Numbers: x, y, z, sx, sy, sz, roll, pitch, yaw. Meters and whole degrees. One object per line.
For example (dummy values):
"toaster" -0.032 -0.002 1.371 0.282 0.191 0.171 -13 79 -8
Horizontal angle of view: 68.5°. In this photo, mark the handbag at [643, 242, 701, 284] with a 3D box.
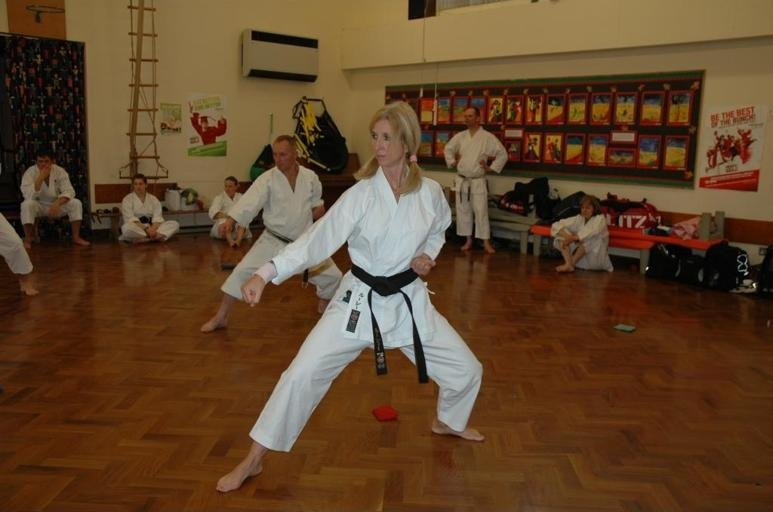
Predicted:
"handbag" 3.277 0.080 6.529 0.558 0.527 0.379 9 1 14

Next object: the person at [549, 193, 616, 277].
"person" 2.610 -0.264 7.400 1.005 1.092 0.701 1 4 -15

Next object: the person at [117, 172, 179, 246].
"person" -3.495 -0.692 8.107 0.870 1.230 0.941 9 10 42

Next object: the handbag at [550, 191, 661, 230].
"handbag" 2.891 -0.557 7.200 0.977 0.326 0.589 -1 8 -10

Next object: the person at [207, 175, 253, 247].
"person" -2.282 -0.666 8.334 0.638 0.956 0.877 1 15 -13

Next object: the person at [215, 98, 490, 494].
"person" -0.110 0.135 3.134 1.242 1.904 0.438 -5 16 -17

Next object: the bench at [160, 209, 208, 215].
"bench" -3.078 -0.668 8.522 0.800 0.117 0.028 -1 -2 -38

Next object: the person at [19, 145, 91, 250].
"person" -4.557 -0.786 7.531 0.838 1.146 0.891 8 13 14
